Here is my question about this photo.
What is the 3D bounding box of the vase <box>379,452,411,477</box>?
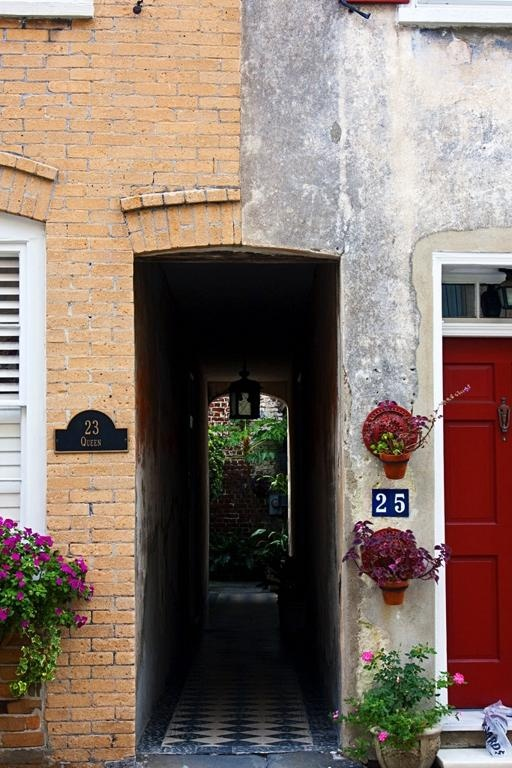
[{"bbox_3d":[0.727,0.433,5.999,0.159,0.132,0.187,-1,-7,7],"label":"vase"}]

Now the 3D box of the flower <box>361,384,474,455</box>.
[{"bbox_3d":[0.846,0.218,6.081,0.550,0.352,0.221,3,-7,-24],"label":"flower"}]

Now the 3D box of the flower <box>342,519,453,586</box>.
[{"bbox_3d":[0.728,0.880,5.949,0.549,0.338,0.319,-1,-7,7],"label":"flower"}]

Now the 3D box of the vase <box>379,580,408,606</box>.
[{"bbox_3d":[0.711,1.081,5.911,0.136,0.111,0.138,2,-11,-14],"label":"vase"}]

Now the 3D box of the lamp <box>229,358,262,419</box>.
[{"bbox_3d":[-0.107,0.050,10.064,0.332,0.482,0.332,-10,20,-26],"label":"lamp"}]
